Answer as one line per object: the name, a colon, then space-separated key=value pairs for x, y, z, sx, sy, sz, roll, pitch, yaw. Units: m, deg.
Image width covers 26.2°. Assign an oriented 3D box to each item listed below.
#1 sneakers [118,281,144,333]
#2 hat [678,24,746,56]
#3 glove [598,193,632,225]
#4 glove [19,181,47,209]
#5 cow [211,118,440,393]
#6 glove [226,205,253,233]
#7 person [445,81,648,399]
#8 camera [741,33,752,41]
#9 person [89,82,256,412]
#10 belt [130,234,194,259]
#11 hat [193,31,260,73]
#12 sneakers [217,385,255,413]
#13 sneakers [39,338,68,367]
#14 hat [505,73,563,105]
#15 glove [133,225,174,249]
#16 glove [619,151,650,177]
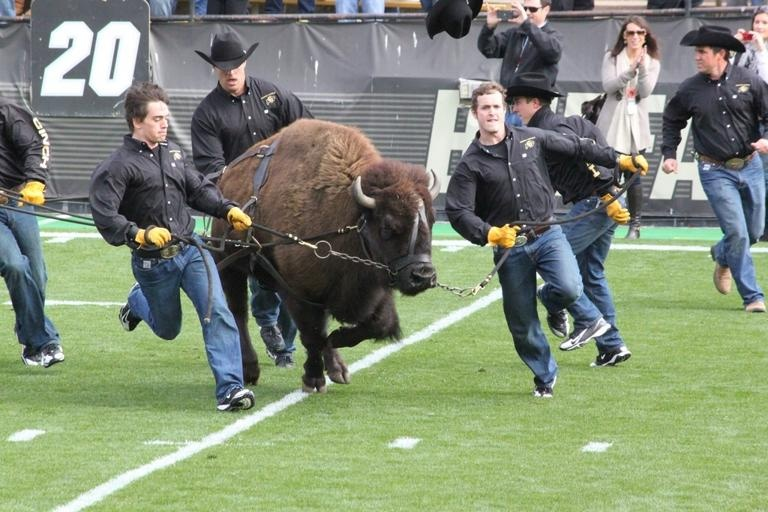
sneakers: x=-2.694 y=0.569 z=17.303 sx=0.251 sy=0.606 sz=0.281 roll=15 pitch=34 yaw=-16
hat: x=3.611 y=-2.342 z=17.863 sx=0.693 sy=0.224 sz=0.505 roll=6 pitch=1 yaw=-4
glove: x=2.256 y=-0.474 z=16.021 sx=0.331 sy=0.110 sz=0.238 roll=35 pitch=-12 yaw=18
glove: x=-3.544 y=-0.601 z=16.378 sx=0.248 sy=0.266 sz=0.627 roll=-2 pitch=10 yaw=-12
cow: x=-0.600 y=0.052 z=16.594 sx=1.544 sy=2.655 sz=4.084 roll=-7 pitch=10 yaw=-30
glove: x=-1.421 y=-0.344 z=15.573 sx=0.263 sy=0.098 sz=0.191 roll=24 pitch=-18 yaw=41
person: x=1.352 y=-0.156 z=15.727 sx=1.547 sy=2.964 sz=0.837 roll=1 pitch=10 yaw=2
camera: x=4.295 y=-2.568 z=19.376 sx=0.090 sy=0.096 sz=0.038 roll=8 pitch=30 yaw=10
person: x=-1.978 y=-0.112 z=15.643 sx=1.558 sy=3.012 sz=1.119 roll=2 pitch=11 yaw=8
belt: x=-2.117 y=-0.041 z=15.378 sx=0.346 sy=0.083 sz=0.325 roll=-15 pitch=0 yaw=28
hat: x=-1.638 y=-2.116 z=16.941 sx=0.745 sy=0.250 sz=0.689 roll=-11 pitch=-10 yaw=8
sneakers: x=-1.397 y=1.340 z=15.363 sx=0.413 sy=0.177 sz=0.173 roll=-18 pitch=-20 yaw=22
sneakers: x=-3.400 y=1.003 z=16.702 sx=0.169 sy=0.157 sz=0.396 roll=1 pitch=-7 yaw=-33
hat: x=1.504 y=-1.662 z=16.367 sx=0.469 sy=0.154 sz=0.387 roll=15 pitch=-9 yaw=-34
glove: x=-2.157 y=-0.154 z=15.168 sx=0.282 sy=0.119 sz=0.216 roll=-17 pitch=-16 yaw=35
glove: x=2.408 y=-0.871 z=15.735 sx=0.140 sy=0.149 sz=0.299 roll=-12 pitch=12 yaw=-18
